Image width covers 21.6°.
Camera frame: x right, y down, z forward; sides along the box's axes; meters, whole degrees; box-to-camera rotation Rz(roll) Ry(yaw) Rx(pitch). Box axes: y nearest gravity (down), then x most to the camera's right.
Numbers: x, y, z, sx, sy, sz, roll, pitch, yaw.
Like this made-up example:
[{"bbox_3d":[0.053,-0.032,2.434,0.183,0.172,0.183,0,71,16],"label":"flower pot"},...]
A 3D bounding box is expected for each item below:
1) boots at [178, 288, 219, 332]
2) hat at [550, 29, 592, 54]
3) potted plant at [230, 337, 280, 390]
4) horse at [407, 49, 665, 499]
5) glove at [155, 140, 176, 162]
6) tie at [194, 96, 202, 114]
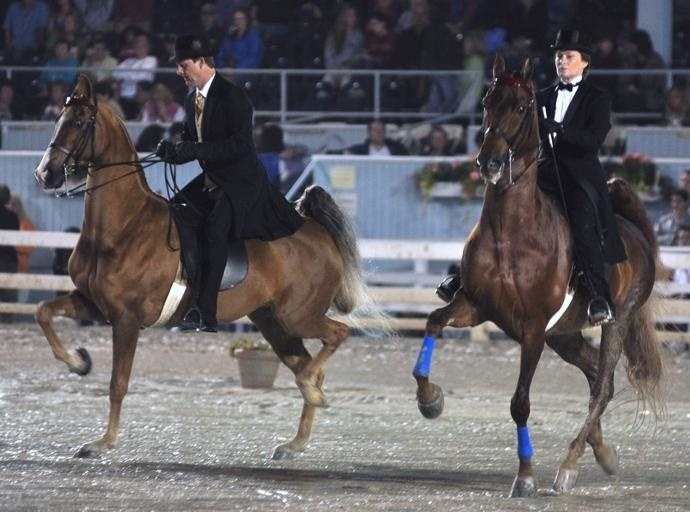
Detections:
[{"bbox_3d":[-1.587,0.534,18.043,0.270,0.411,0.439,-1,-12,26],"label":"boots"},{"bbox_3d":[2.226,-2.213,17.739,0.281,0.124,0.280,14,7,31],"label":"hat"},{"bbox_3d":[-1.029,1.225,20.396,0.563,0.406,0.551,1,-5,2],"label":"potted plant"},{"bbox_3d":[2.027,0.084,17.683,2.463,4.187,1.509,-7,15,-33],"label":"horse"},{"bbox_3d":[-1.799,-1.094,17.986,0.151,0.233,0.102,0,2,-12],"label":"glove"},{"bbox_3d":[-1.468,-1.566,17.900,0.106,0.144,0.039,-4,-6,25],"label":"tie"}]
